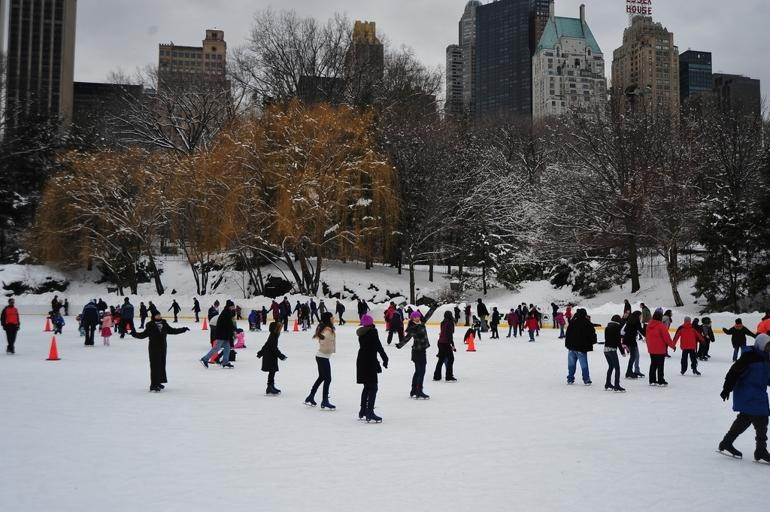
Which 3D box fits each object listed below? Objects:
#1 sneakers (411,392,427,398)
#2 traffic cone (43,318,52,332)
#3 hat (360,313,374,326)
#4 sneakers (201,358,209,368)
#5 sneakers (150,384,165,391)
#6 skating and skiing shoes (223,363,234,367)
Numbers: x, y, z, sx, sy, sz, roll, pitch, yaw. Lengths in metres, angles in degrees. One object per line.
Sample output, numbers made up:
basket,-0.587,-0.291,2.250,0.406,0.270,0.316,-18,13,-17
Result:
sneakers,1.207,5.047,33.174,0.585,0.260,0.218,-1,-2,5
traffic cone,-18.561,3.811,50.569,0.553,0.781,0.569,-10,-12,38
hat,-0.624,2.177,31.356,0.310,0.313,0.443,-2,7,4
sneakers,-7.374,4.433,37.649,0.205,0.184,0.514,-23,-44,-8
sneakers,-8.371,4.858,33.692,0.364,0.213,0.230,-8,7,-6
skating and skiing shoes,-6.439,4.504,37.718,0.346,0.163,0.158,-1,-2,-1
